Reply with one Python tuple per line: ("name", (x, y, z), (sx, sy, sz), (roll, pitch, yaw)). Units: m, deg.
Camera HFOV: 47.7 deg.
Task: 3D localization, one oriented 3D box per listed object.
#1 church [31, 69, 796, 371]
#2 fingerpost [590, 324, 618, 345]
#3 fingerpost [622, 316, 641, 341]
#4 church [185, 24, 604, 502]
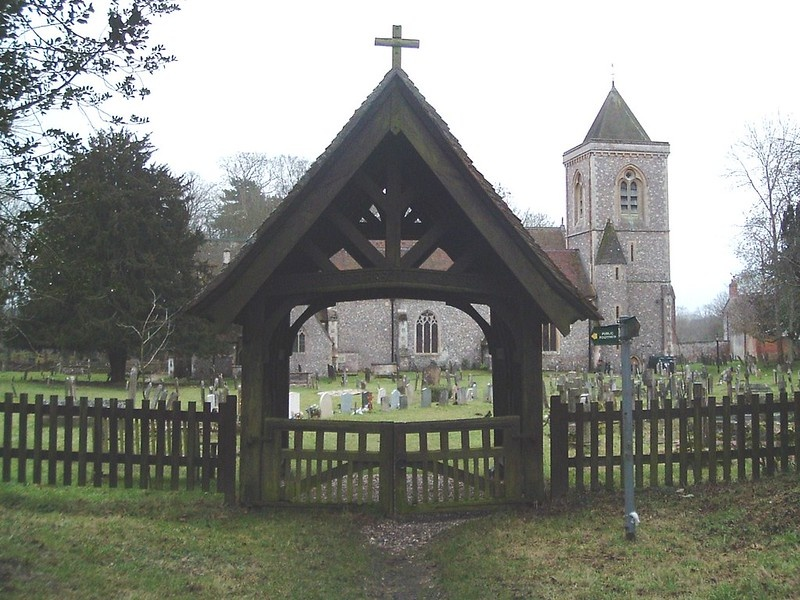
("church", (2.464, -4.225, 58.701), (29.210, 17.041, 8.327), (-2, -4, 9))
("fingerpost", (3.051, 0.513, 13.409), (0.371, 0.359, 0.755), (0, 3, 9))
("fingerpost", (3.355, 0.388, 13.011), (0.262, 0.422, 0.332), (-1, 2, -9))
("church", (-0.254, -0.305, 14.778), (6.091, 8.017, 2.905), (1, -1, -1))
